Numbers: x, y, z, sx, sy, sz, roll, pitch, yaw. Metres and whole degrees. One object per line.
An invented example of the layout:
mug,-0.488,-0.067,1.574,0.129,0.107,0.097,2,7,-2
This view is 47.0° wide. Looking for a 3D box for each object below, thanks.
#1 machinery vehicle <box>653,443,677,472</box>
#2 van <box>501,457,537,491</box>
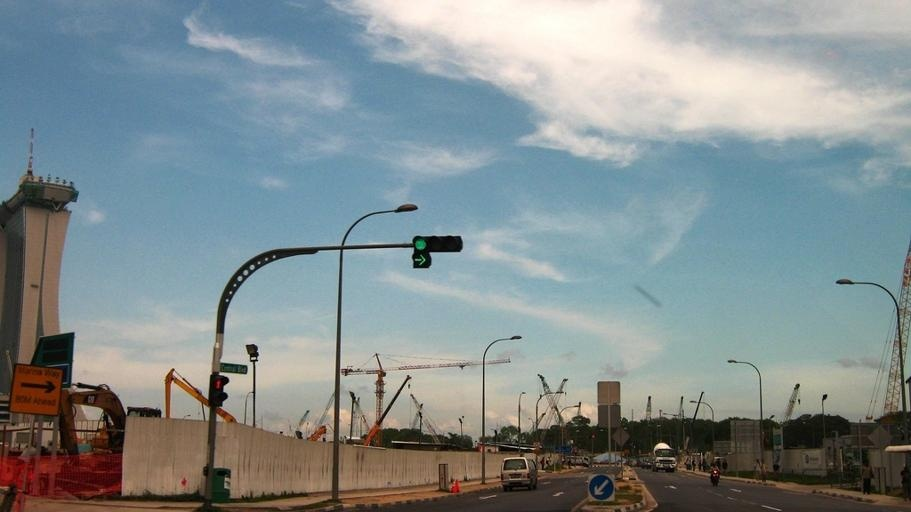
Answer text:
machinery vehicle,32.256,31.326,159.222,2.591,3.247,6.549,0,-27,2
van,7.548,24.200,117.805,2.707,2.268,4.745,-1,-4,12
